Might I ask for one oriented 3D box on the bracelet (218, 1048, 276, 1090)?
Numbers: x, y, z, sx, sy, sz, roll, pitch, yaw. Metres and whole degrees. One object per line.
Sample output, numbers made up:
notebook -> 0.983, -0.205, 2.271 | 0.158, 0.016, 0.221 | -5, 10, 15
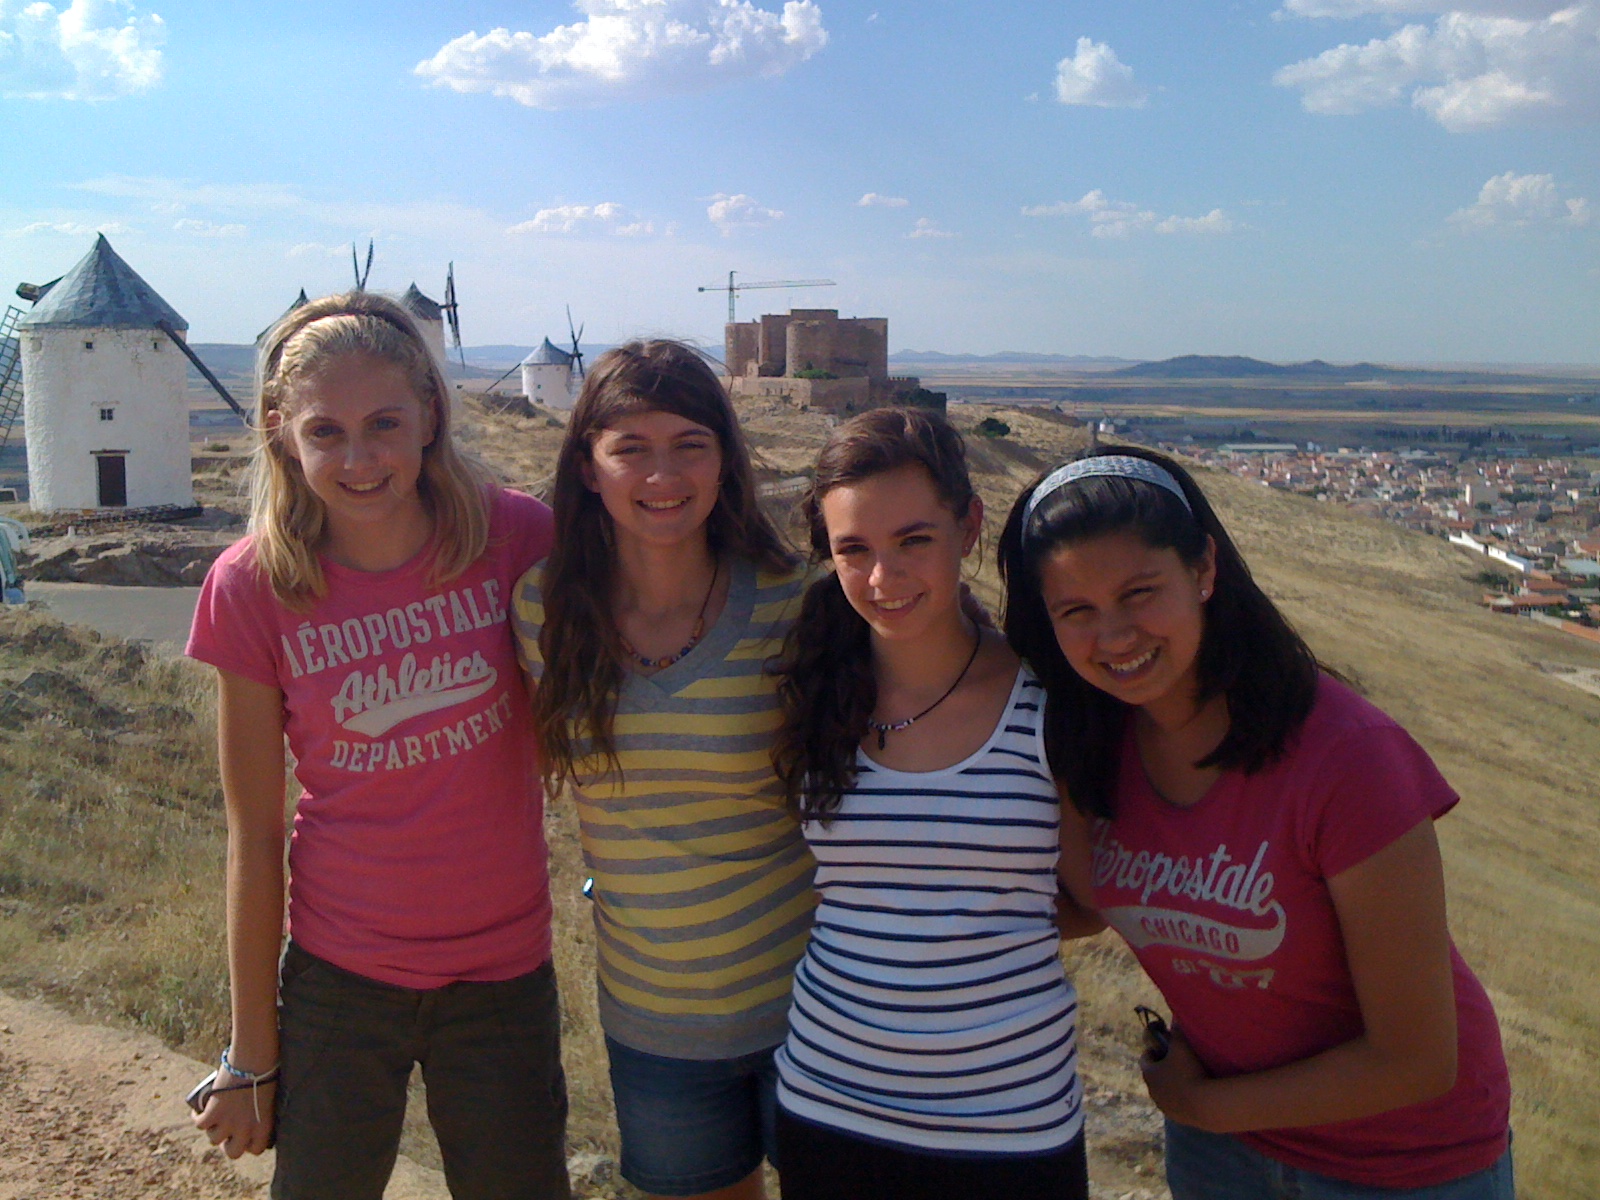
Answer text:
bracelet -> -1.727, 1.451, 3.811 | 0.135, 0.088, 0.103 | 1, 20, 5

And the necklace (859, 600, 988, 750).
necklace -> 0.406, 0.202, 3.664 | 0.311, 0.080, 0.448 | 10, 60, 45

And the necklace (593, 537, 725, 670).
necklace -> -0.398, 0.025, 3.920 | 0.233, 0.343, 0.058 | -12, -29, 35
